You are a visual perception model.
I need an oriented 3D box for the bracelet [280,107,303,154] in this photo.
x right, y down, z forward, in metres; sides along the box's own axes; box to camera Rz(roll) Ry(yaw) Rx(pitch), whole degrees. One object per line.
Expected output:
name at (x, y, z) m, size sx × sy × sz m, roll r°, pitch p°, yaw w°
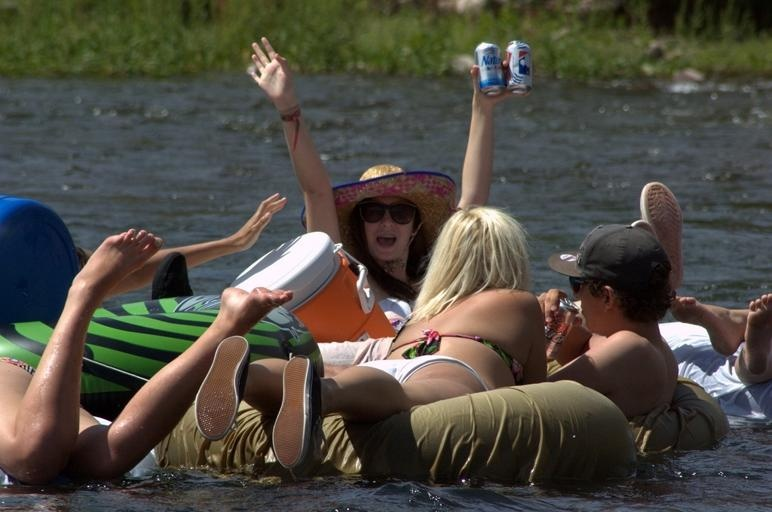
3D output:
bracelet at (-0.986, -1.389, 17.597) m, size 0.261 × 0.395 × 0.128 m, roll 4°, pitch 1°, yaw 10°

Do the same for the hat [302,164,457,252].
hat at (0.102, -0.597, 17.783) m, size 0.978 × 0.311 × 1.005 m, roll -29°, pitch -41°, yaw 35°
